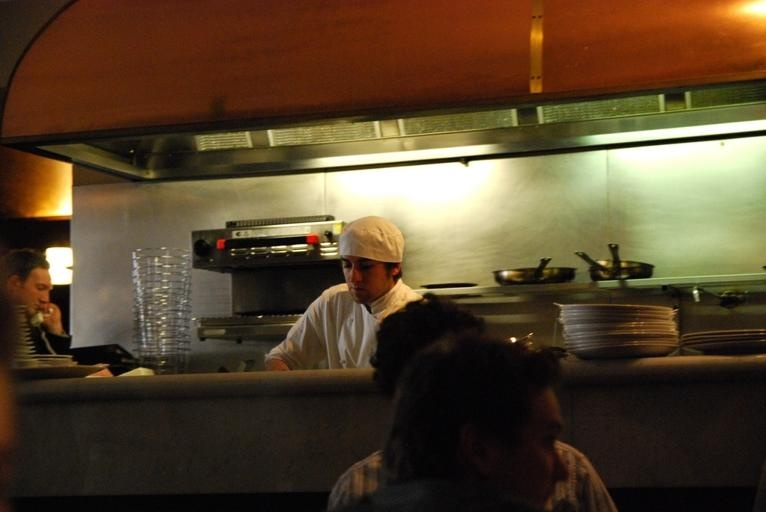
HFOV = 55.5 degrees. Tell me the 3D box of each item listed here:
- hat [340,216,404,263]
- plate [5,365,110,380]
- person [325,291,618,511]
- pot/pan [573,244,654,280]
[{"bbox_3d":[-0.042,-0.073,3.683,0.288,0.149,0.273,1,-9,19],"label":"hat"},{"bbox_3d":[-1.226,0.448,2.810,0.311,0.053,0.168,0,-4,-31],"label":"plate"},{"bbox_3d":[0.231,0.404,1.985,0.840,0.647,0.352,-7,-19,9],"label":"person"},{"bbox_3d":[1.316,0.070,4.096,0.247,0.100,0.368,-7,-15,40],"label":"pot/pan"}]
